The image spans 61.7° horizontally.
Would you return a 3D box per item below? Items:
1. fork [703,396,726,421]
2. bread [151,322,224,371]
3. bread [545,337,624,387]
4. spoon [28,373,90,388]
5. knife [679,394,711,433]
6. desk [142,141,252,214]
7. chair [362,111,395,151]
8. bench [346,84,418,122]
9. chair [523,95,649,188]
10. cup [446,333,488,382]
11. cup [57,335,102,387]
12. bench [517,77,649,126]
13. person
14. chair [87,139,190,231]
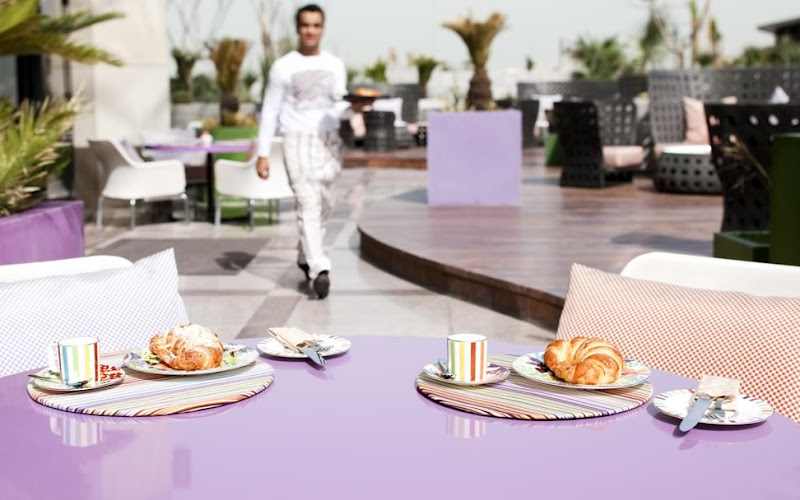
[{"bbox_3d":[0.616,0.310,1.314,0.037,0.035,0.010,-2,24,-34],"label":"fork"},{"bbox_3d":[-0.470,0.212,1.490,0.108,0.044,0.123,1,19,-20],"label":"bread"},{"bbox_3d":[0.393,0.234,1.435,0.112,0.040,0.119,10,25,34],"label":"bread"},{"bbox_3d":[-0.729,0.280,1.440,0.076,0.013,0.051,8,-3,11],"label":"spoon"},{"bbox_3d":[0.575,0.304,1.298,0.034,0.010,0.152,6,15,22],"label":"knife"},{"bbox_3d":[-2.240,-1.007,7.903,1.201,0.765,1.197,0,10,0],"label":"desk"},{"bbox_3d":[-0.448,-2.784,15.912,0.999,1.137,0.995,-2,9,-8],"label":"chair"},{"bbox_3d":[-0.130,-3.789,17.436,1.438,0.890,1.080,-1,9,-7],"label":"bench"},{"bbox_3d":[2.750,-1.547,9.816,1.605,1.284,1.431,0,10,16],"label":"chair"},{"bbox_3d":[0.145,0.233,1.506,0.086,0.093,0.097,7,12,35],"label":"cup"},{"bbox_3d":[-0.680,0.240,1.468,0.105,0.094,0.080,1,7,6],"label":"cup"},{"bbox_3d":[3.578,-2.950,13.168,2.971,0.724,2.871,1,5,16],"label":"bench"},{"bbox_3d":[-0.632,-0.640,4.579,0.625,1.989,0.280,-3,15,-4],"label":"person"},{"bbox_3d":[-2.717,-0.787,7.438,1.119,1.175,0.922,-7,14,-37],"label":"chair"}]
